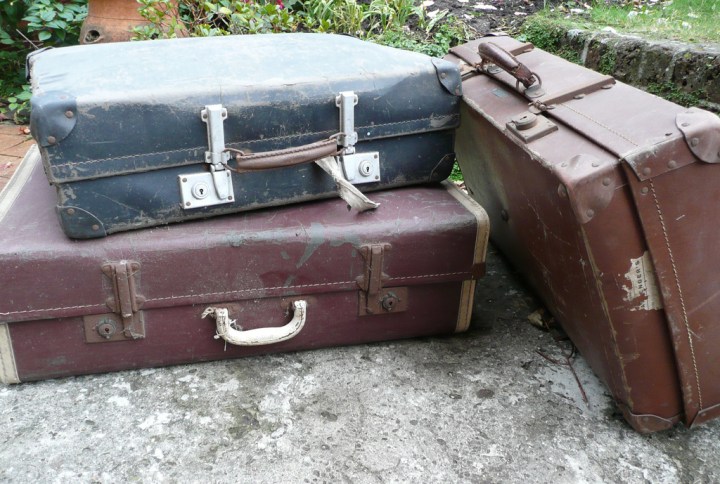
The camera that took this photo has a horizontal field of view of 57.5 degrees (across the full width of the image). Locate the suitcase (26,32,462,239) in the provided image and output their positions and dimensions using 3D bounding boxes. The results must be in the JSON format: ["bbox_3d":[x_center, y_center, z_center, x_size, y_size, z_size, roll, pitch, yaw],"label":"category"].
[{"bbox_3d":[-0.514,-0.546,3.003,1.721,0.559,0.710,-11,39,-15],"label":"suitcase"}]
